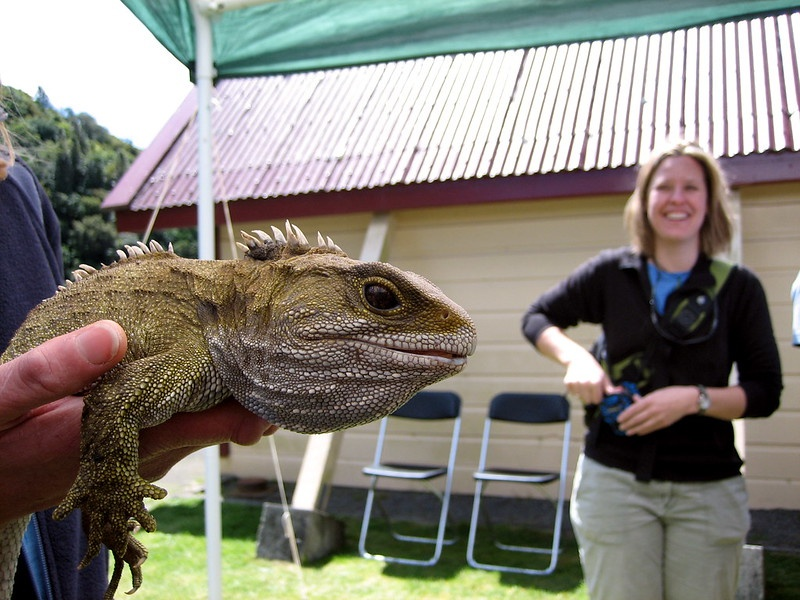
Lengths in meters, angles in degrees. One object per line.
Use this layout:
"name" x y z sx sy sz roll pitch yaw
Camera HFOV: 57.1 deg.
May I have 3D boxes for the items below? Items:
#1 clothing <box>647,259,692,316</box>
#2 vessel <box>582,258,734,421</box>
"clothing" 1.259 -0.074 3.441 0.153 0.263 0.137 4 -31 5
"vessel" 1.216 0.191 3.400 0.578 0.689 0.403 9 -24 24
